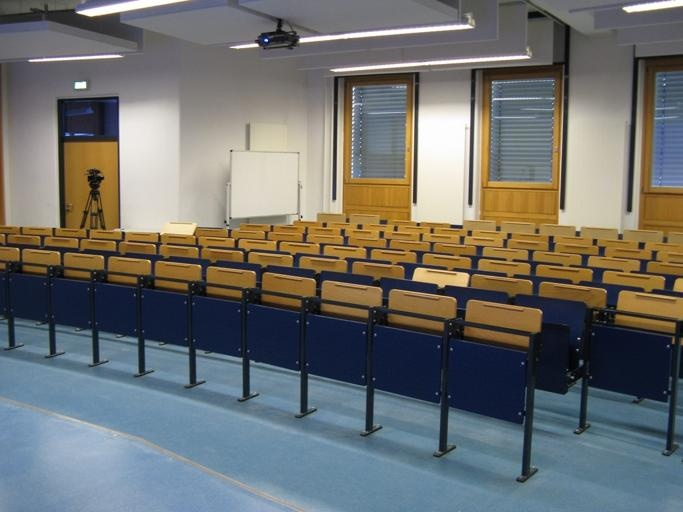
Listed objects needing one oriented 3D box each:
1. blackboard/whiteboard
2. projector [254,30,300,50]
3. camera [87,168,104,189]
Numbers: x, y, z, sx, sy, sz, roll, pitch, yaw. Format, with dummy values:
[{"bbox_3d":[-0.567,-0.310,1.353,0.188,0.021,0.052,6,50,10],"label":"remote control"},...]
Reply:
[{"bbox_3d":[-2.054,-1.874,13.356,0.071,1.340,1.812,6,8,39],"label":"blackboard/whiteboard"},{"bbox_3d":[-0.995,-3.407,8.113,0.567,0.319,0.508,-3,10,-21],"label":"projector"},{"bbox_3d":[-5.922,-1.863,12.522,0.288,0.475,0.716,-4,10,-28],"label":"camera"}]
